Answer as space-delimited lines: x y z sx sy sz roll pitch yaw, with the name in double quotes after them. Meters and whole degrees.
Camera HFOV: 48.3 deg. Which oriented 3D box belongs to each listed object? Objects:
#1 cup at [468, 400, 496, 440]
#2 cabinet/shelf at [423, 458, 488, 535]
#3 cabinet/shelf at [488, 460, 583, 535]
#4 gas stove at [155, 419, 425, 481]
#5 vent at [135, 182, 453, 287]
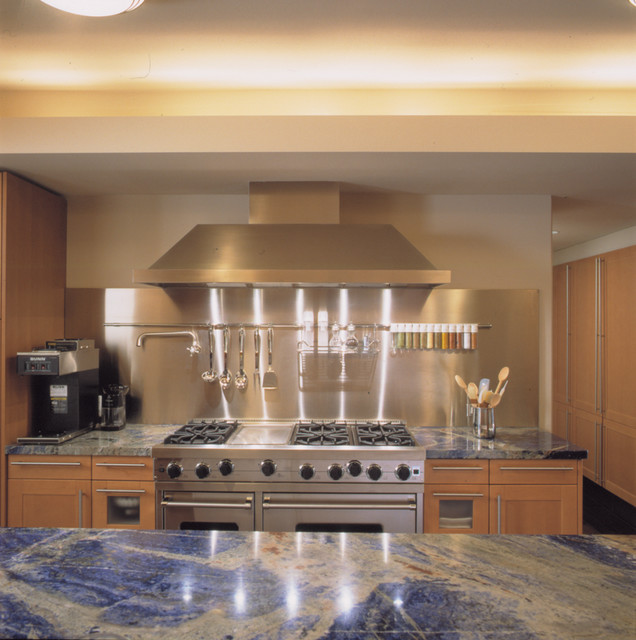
0.893 0.546 3.877 0.131 0.179 0.148 2 12 5 "cup"
0.702 0.923 3.650 0.379 0.377 0.321 1 -10 -4 "cabinet/shelf"
1.030 0.838 3.713 0.604 0.478 0.375 0 -6 3 "cabinet/shelf"
-0.145 0.683 3.732 1.348 0.182 0.579 0 11 0 "gas stove"
-0.118 -0.477 3.778 1.598 0.463 0.453 0 21 -2 "vent"
